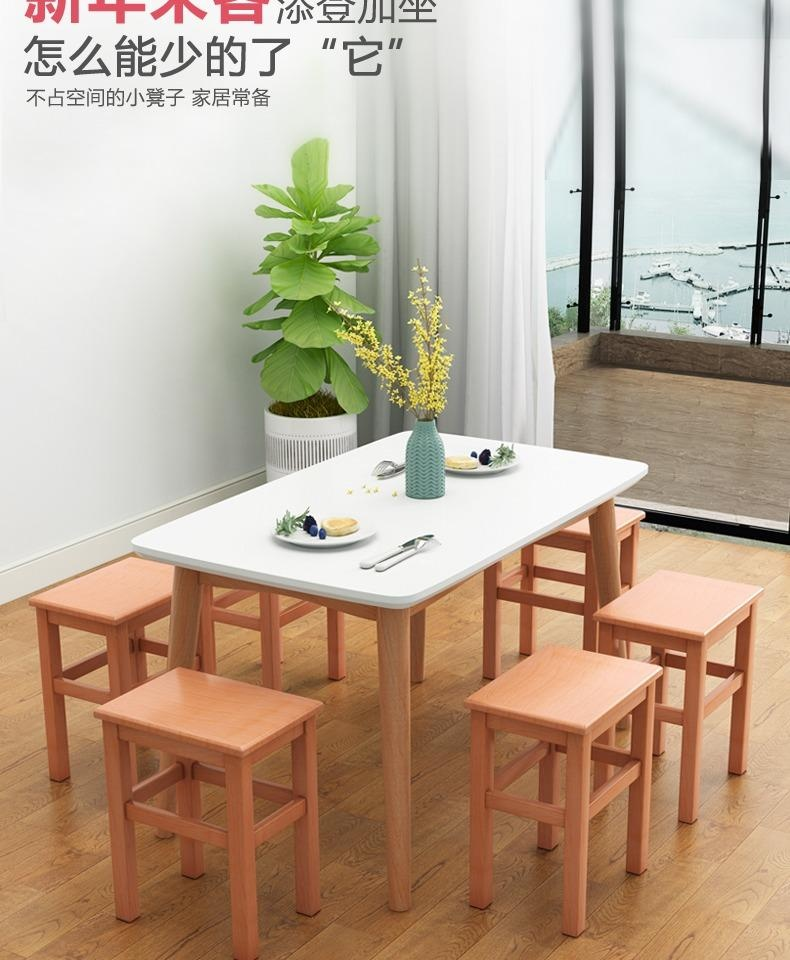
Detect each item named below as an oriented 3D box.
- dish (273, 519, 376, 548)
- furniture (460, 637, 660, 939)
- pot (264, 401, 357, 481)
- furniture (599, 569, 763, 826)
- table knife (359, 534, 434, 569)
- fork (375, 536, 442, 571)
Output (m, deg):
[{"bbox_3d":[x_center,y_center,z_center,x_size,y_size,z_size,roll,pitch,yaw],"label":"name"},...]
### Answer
[{"bbox_3d":[-0.140,0.117,1.660,0.205,0.032,0.113,-1,7,-9],"label":"dish"},{"bbox_3d":[0.316,0.575,1.580,0.256,0.424,0.384,5,9,35],"label":"furniture"},{"bbox_3d":[-0.369,-0.206,3.891,0.393,0.370,0.360,0,12,0],"label":"pot"},{"bbox_3d":[0.660,0.517,1.924,0.341,0.503,0.371,11,24,31],"label":"furniture"},{"bbox_3d":[0.006,0.136,1.596,0.048,0.025,0.203,4,15,35],"label":"table knife"},{"bbox_3d":[0.033,0.138,1.597,0.043,0.029,0.210,3,16,31],"label":"fork"}]
